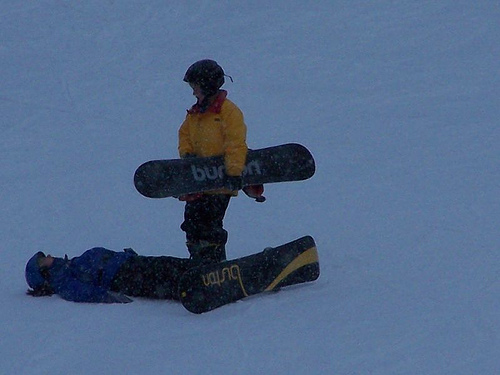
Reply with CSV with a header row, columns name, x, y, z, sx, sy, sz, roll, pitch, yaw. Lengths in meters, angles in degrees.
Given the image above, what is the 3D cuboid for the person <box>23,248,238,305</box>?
name,x,y,z,sx,sy,sz,roll,pitch,yaw
person,-1.165,0.955,10.323,1.853,0.897,0.418,3,81,5
